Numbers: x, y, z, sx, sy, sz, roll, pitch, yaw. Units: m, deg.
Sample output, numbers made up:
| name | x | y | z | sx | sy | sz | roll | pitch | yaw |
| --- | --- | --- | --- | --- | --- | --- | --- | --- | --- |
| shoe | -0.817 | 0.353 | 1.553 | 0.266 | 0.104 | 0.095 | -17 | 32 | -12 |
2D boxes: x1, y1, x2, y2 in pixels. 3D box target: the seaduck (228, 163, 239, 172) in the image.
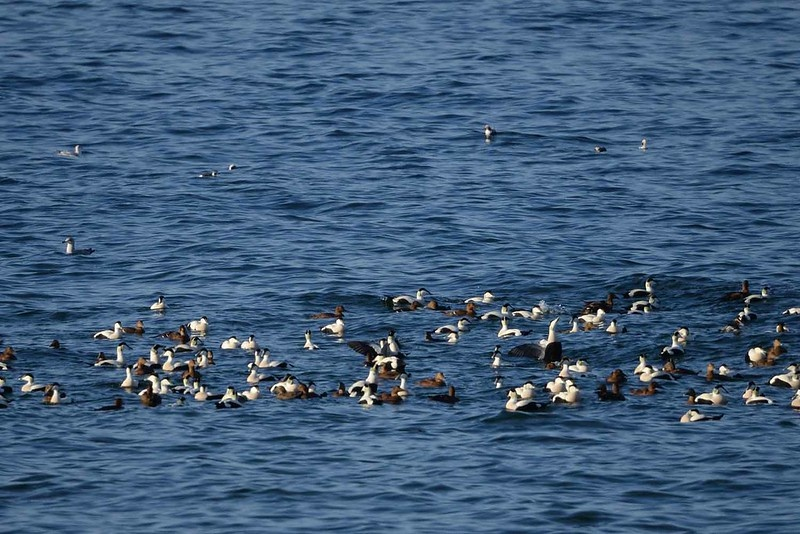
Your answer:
| name | x | y | z | sx | sy | sz | roll | pitch | yaw |
| --- | --- | --- | --- | --- | --- | --- | --- | --- | --- |
| seaduck | -11.885 | -7.259 | 108.409 | 0.751 | 0.811 | 0.777 | -2 | -20 | -1 |

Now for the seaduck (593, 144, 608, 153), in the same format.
| name | x | y | z | sx | sy | sz | roll | pitch | yaw |
| --- | --- | --- | --- | --- | --- | --- | --- | --- | --- |
| seaduck | 14.802 | -8.807 | 111.129 | 0.781 | 0.205 | 0.614 | 6 | 16 | -3 |

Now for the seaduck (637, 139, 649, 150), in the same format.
| name | x | y | z | sx | sy | sz | roll | pitch | yaw |
| --- | --- | --- | --- | --- | --- | --- | --- | --- | --- |
| seaduck | 18.154 | -9.167 | 111.740 | 0.507 | 1.210 | 0.435 | 36 | -45 | -8 |
